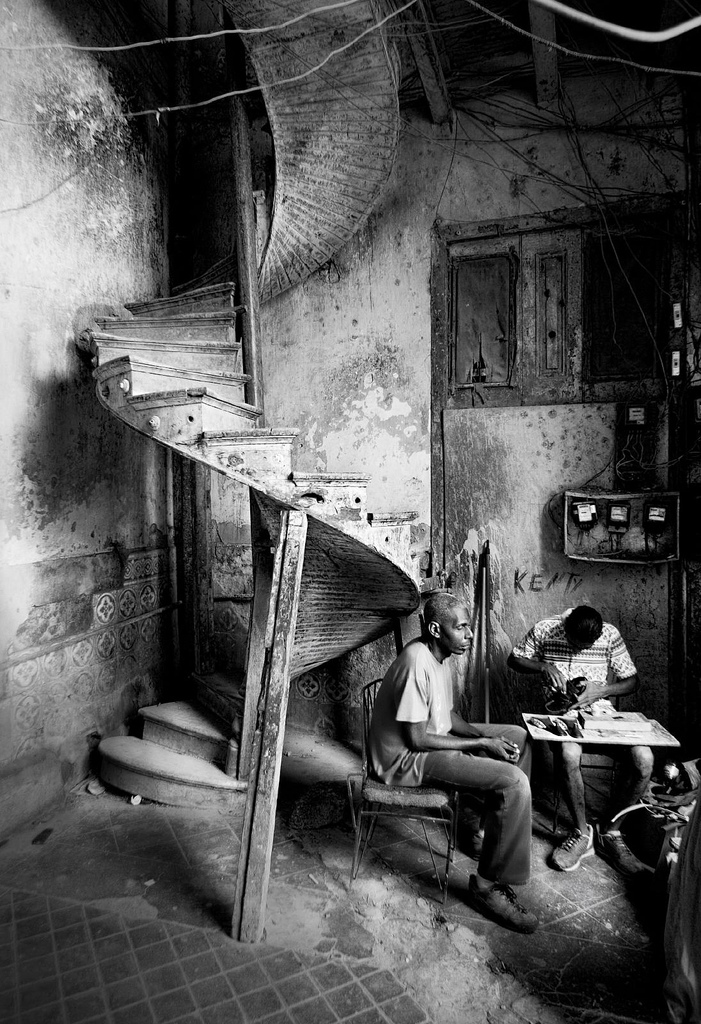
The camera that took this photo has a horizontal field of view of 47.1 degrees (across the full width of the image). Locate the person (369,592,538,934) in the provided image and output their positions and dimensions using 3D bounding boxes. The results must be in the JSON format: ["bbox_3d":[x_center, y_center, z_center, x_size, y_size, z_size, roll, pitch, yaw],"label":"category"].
[{"bbox_3d":[0.408,0.919,3.279,0.624,1.543,0.856,0,-6,10],"label":"person"}]

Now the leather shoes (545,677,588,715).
[{"bbox_3d":[0.890,0.755,3.302,0.063,0.165,0.109,42,-6,-32],"label":"leather shoes"}]

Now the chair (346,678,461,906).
[{"bbox_3d":[0.183,1.020,2.975,0.349,0.789,0.394,1,-3,20],"label":"chair"}]

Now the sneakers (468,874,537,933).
[{"bbox_3d":[0.503,1.266,2.665,0.099,0.142,0.230,-14,13,-42],"label":"sneakers"}]
